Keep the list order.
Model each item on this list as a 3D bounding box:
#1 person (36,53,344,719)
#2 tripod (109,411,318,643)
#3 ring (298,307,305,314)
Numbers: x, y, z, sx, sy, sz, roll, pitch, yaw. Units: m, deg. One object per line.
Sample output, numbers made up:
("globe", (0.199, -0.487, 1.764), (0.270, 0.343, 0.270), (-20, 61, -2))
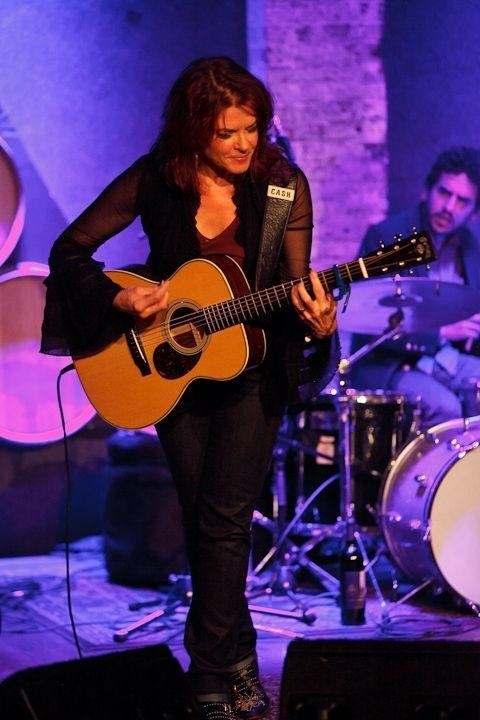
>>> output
("person", (-0.123, 0.084, 2.065), (0.785, 1.307, 0.376), (-7, 3, 3))
("tripod", (-0.173, 0.743, 3.767), (1.052, 1.087, 0.955), (-13, -20, 19))
("ring", (0.150, -0.122, 1.887), (0.009, 0.016, 0.002), (22, 53, 19))
